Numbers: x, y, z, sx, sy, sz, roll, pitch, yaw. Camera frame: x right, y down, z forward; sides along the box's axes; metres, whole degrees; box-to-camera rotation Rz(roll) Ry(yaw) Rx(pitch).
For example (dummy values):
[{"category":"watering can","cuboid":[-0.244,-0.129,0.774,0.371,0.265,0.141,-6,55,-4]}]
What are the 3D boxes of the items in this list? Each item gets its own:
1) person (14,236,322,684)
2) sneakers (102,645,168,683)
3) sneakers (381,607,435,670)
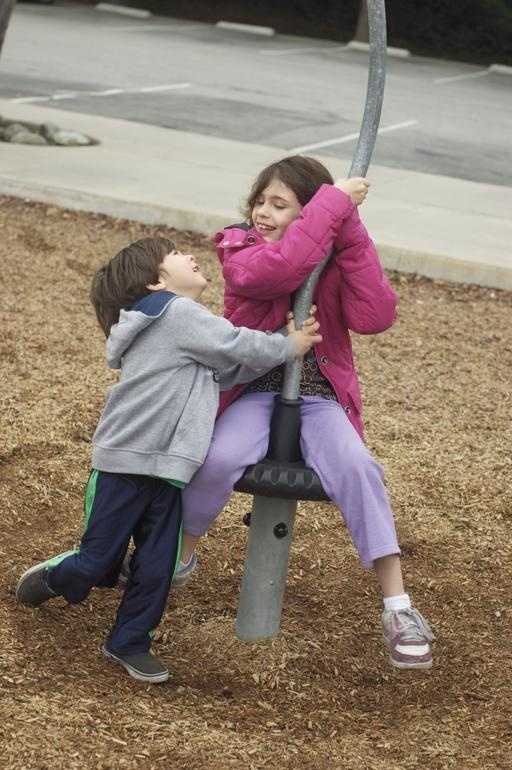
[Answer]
[{"category":"person","cuboid":[-0.234,0.141,1.785,0.456,0.875,0.361,19,20,26]},{"category":"sneakers","cuboid":[-0.245,0.560,1.727,0.140,0.044,0.055,11,14,34]},{"category":"sneakers","cuboid":[0.291,0.497,1.692,0.083,0.070,0.155,-3,18,-9]}]
